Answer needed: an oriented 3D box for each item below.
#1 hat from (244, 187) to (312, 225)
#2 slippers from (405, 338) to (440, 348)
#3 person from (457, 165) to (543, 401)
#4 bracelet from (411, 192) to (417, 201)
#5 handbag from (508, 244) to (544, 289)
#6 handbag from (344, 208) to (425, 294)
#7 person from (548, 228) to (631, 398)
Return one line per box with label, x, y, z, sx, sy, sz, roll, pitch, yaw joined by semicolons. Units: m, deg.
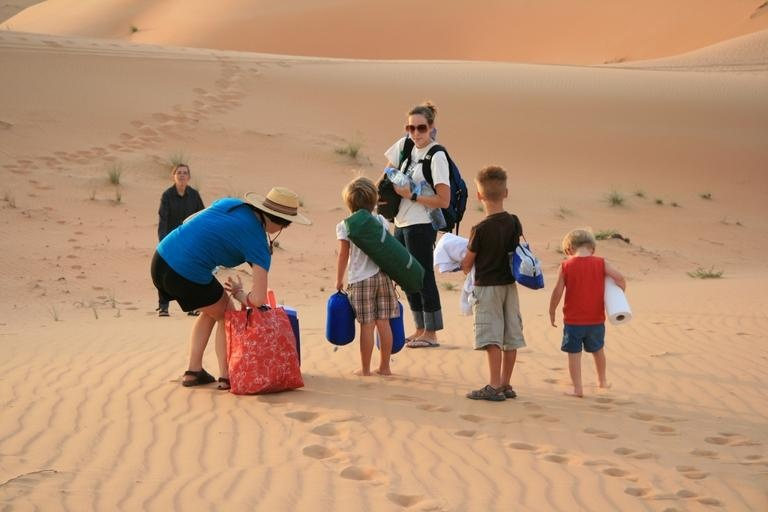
hat;-1.636;-0.779;14.528;0.824;0.212;0.691;20;11;-11
slippers;0.651;1.546;16.428;0.486;0.097;0.174;4;-11;-13
person;1.722;0.448;14.659;1.036;3.666;0.519;4;5;4
bracelet;0.496;-0.977;15.616;0.113;0.120;0.132;7;-2;17
handbag;2.198;0.191;14.692;0.505;0.716;0.292;-29;-3;0
handbag;0.002;-0.072;15.222;1.572;0.553;0.827;38;7;-13
person;3.189;0.919;15.029;1.034;2.659;0.850;4;5;11
